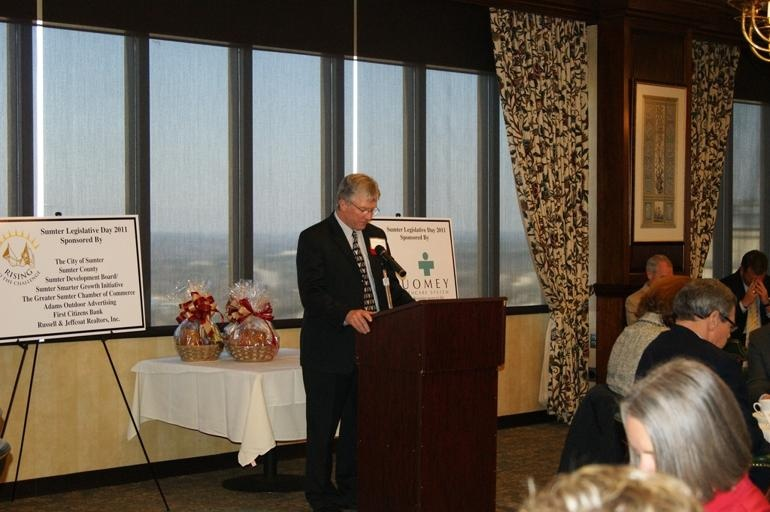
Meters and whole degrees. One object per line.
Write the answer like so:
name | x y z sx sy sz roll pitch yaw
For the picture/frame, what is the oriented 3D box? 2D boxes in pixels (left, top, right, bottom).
picture/frame | 2.813 -0.940 7.197 0.757 1.580 0.129 -3 3 -35

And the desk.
desk | -1.066 1.000 4.819 0.850 0.444 0.835 5 -6 -44

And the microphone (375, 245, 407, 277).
microphone | 0.023 0.032 4.329 0.092 0.114 0.353 -1 23 -20

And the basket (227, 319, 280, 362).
basket | -0.951 0.603 5.169 0.286 0.329 0.311 -1 -3 21

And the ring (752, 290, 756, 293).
ring | 3.610 0.347 6.889 0.023 0.018 0.013 -1 -8 21

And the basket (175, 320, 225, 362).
basket | -1.323 0.590 5.188 0.280 0.452 0.289 1 -2 -10
